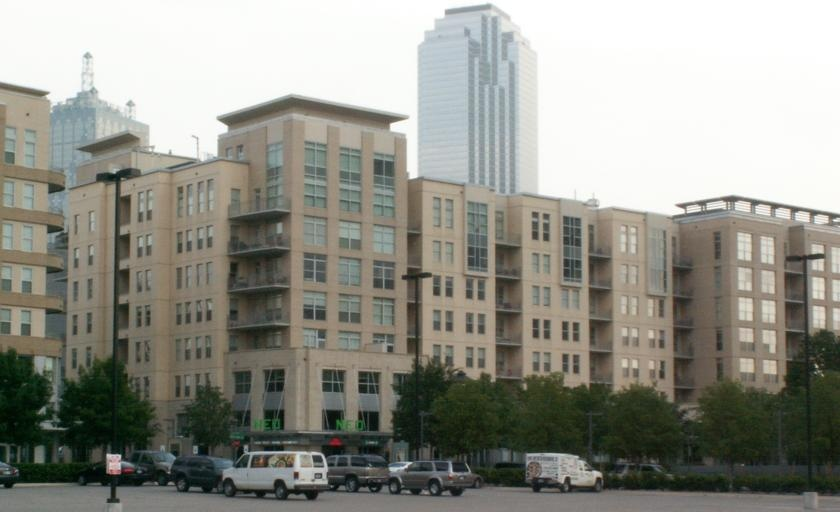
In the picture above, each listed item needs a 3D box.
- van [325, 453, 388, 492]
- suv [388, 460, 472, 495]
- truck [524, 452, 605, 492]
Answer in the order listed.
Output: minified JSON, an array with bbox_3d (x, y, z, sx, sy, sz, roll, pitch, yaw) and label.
[{"bbox_3d":[-7.089,23.841,219.148,6.581,4.404,2.279,-3,-16,6],"label":"van"},{"bbox_3d":[1.123,24.049,216.504,8.152,2.886,4.090,0,-6,30],"label":"suv"},{"bbox_3d":[16.296,24.322,224.209,7.902,4.431,2.427,3,-17,-17],"label":"truck"}]
